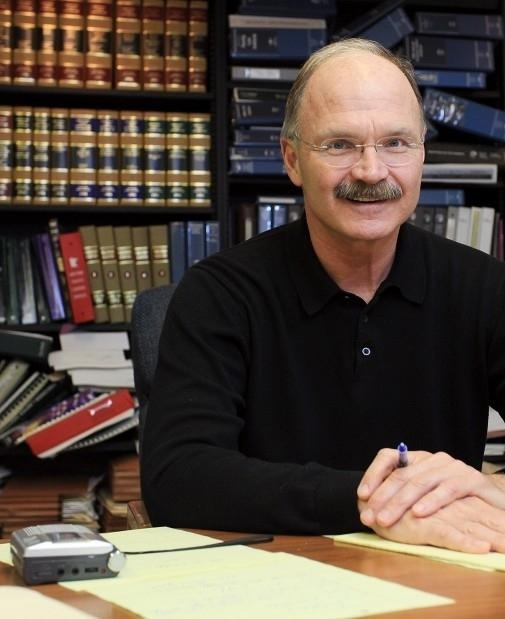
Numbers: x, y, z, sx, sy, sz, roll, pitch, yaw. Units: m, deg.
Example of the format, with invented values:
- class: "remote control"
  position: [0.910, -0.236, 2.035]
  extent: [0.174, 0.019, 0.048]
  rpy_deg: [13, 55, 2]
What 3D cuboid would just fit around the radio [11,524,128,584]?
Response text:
- class: "radio"
  position: [-0.151, 0.184, 0.432]
  extent: [0.071, 0.024, 0.076]
  rpy_deg: [2, -9, 39]
